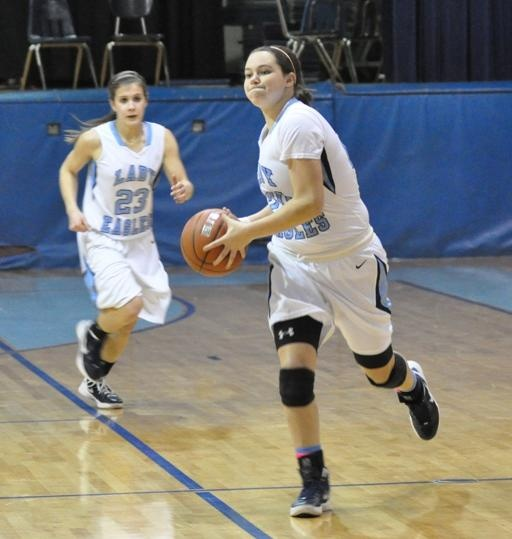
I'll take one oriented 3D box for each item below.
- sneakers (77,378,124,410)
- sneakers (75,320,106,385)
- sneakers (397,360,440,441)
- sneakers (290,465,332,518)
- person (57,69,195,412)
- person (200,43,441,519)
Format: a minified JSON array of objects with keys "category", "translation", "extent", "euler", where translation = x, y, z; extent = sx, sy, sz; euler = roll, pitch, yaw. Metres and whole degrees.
[{"category":"sneakers","translation":[-0.778,0.619,3.423],"extent":[0.291,0.107,0.098],"euler":[20,13,16]},{"category":"sneakers","translation":[-0.825,0.417,3.410],"extent":[0.149,0.297,0.150],"euler":[-3,12,-20]},{"category":"sneakers","translation":[0.681,0.542,2.791],"extent":[0.148,0.361,0.148],"euler":[-20,27,21]},{"category":"sneakers","translation":[0.170,0.715,2.168],"extent":[0.087,0.154,0.130],"euler":[5,11,32]},{"category":"person","translation":[-0.654,-0.065,3.488],"extent":[0.634,1.470,0.632],"euler":[-4,10,-14]},{"category":"person","translation":[0.217,0.090,2.403],"extent":[0.416,1.331,0.796],"euler":[6,12,36]}]
